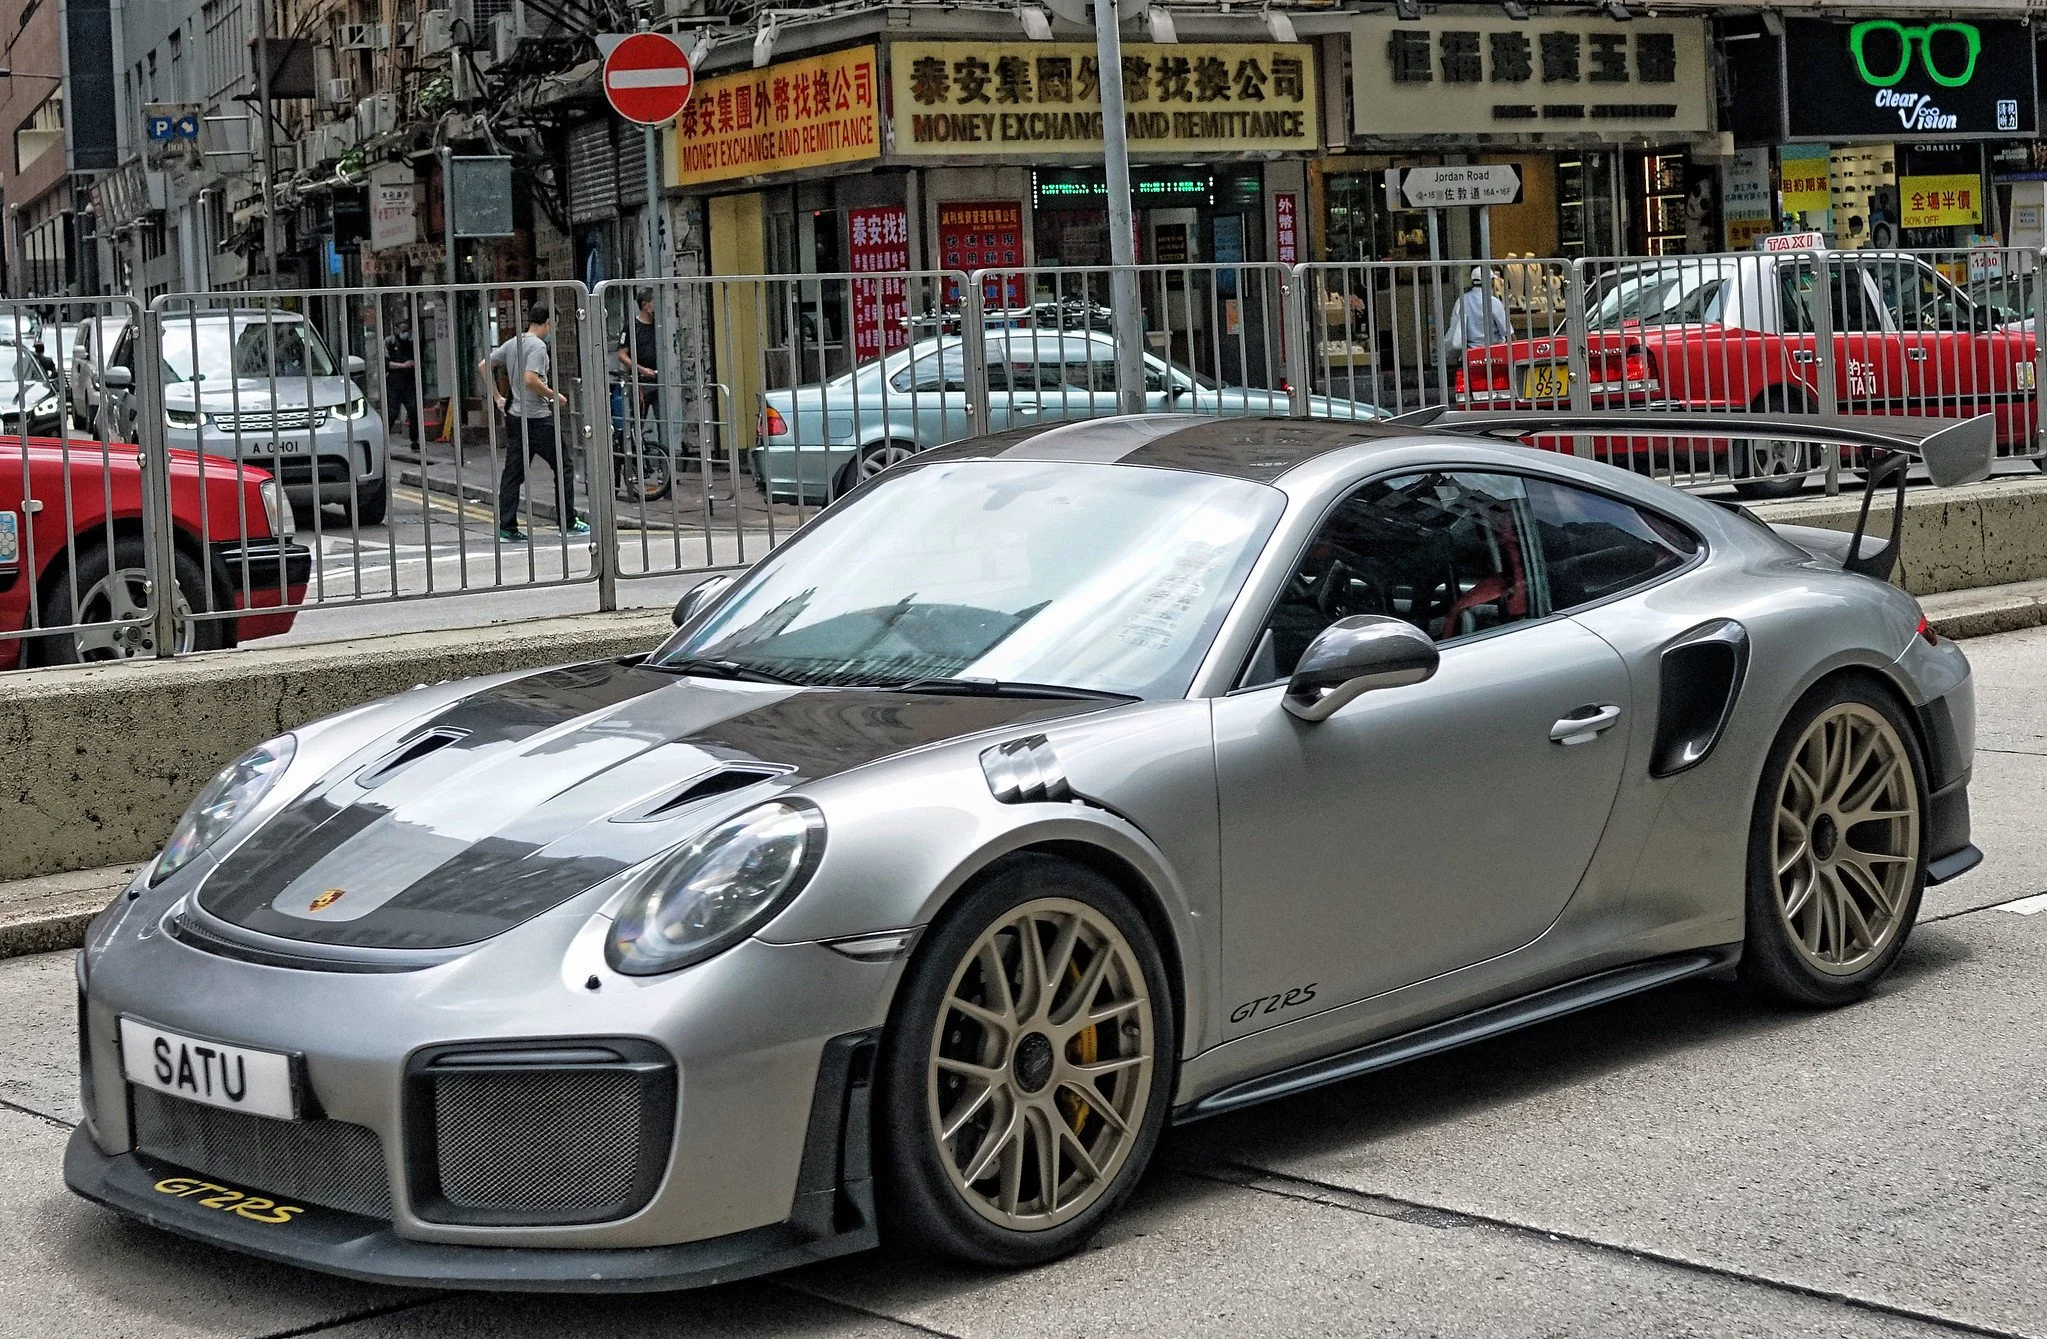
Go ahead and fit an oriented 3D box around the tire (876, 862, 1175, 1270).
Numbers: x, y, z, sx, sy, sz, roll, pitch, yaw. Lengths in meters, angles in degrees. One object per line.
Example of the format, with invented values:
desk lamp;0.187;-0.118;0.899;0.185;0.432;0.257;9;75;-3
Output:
tire;-0.019;0.920;4.258;0.721;0.824;0.251;20;-12;-41

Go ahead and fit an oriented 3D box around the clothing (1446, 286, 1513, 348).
clothing;3.019;-2.305;12.040;0.394;0.420;0.154;-2;-7;8

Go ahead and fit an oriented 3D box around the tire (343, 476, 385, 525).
tire;-3.153;-0.802;8.690;0.075;0.229;0.206;4;-4;-42

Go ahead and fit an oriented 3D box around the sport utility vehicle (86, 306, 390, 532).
sport utility vehicle;-3.978;-1.267;9.136;1.139;0.988;2.006;-8;15;-33

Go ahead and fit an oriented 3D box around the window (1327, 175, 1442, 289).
window;5.544;-7.112;28.537;1.960;1.306;0.581;-9;12;-38

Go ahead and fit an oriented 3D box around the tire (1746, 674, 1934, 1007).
tire;2.540;0.515;5.690;0.950;1.173;0.342;-1;1;-34

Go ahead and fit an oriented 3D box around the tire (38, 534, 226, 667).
tire;-4.063;-0.296;8.208;0.538;0.601;0.194;1;-1;-31

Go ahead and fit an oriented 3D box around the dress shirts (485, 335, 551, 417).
dress shirts;-2.587;-1.505;9.377;0.251;0.422;0.620;-2;10;-2

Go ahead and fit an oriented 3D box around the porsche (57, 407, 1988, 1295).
porsche;0.050;0.309;5.069;4.968;1.907;1.716;-7;11;-31

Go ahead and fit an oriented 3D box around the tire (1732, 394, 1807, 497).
tire;4.985;-1.444;11.806;0.207;0.679;0.636;-8;4;-14
